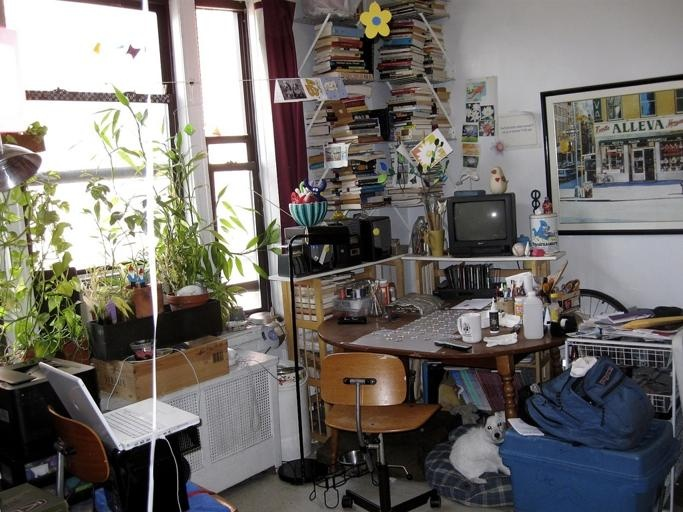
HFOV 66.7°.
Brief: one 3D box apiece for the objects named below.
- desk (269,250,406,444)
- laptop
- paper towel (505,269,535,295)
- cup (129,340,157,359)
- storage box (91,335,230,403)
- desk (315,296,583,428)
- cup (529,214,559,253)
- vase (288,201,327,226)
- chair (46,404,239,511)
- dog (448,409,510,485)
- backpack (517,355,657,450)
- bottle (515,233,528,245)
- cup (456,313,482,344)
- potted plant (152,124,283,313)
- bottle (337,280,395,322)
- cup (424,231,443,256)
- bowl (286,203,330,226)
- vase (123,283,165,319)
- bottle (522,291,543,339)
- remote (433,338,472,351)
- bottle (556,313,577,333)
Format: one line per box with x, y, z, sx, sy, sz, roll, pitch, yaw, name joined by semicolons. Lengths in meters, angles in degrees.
-0.031;0.635;3.505;0.520;1.271;1.298;2;7;28;desk
-0.996;0.740;2.406;0.501;0.345;0.536;-5;6;-39;laptop
1.221;0.176;3.475;0.119;0.152;0.166;-5;10;-33;paper towel
-1.142;0.545;2.996;0.115;0.083;0.113;2;5;0;cup
-1.096;0.578;3.132;0.368;0.199;0.510;-1;5;44;storage box
0.545;0.536;3.224;1.090;0.558;0.791;-1;10;33;desk
1.597;-0.183;4.063;0.197;0.308;0.188;-6;7;1;cup
-0.233;-0.317;3.782;0.208;0.138;0.209;-4;7;0;vase
-0.911;0.795;2.355;0.585;0.518;0.685;-3;0;-37;chair
0.915;1.155;3.167;0.324;0.369;0.360;-14;-5;-37;dog
1.228;0.709;2.600;0.504;0.241;0.396;2;11;43;backpack
1.474;-0.142;4.212;0.095;0.109;0.094;4;-6;-33;bottle
0.772;0.429;3.133;0.140;0.177;0.136;-6;7;1;cup
-0.928;-0.243;3.776;0.745;1.426;1.127;-5;7;7;potted plant
0.172;0.327;3.817;0.252;0.130;0.384;-1;2;28;bottle
0.781;-0.112;4.336;0.154;0.220;0.095;-4;8;19;cup
-0.257;-0.315;3.811;0.196;0.130;0.199;-4;7;1;bowl
-1.163;0.282;3.099;0.202;0.190;0.217;-4;-7;-4;vase
1.153;0.347;3.110;0.119;0.271;0.181;-3;8;20;bottle
0.676;0.522;3.081;0.231;0.041;0.136;0;10;43;remote
1.315;0.408;3.014;0.100;0.094;0.272;-3;8;22;bottle
